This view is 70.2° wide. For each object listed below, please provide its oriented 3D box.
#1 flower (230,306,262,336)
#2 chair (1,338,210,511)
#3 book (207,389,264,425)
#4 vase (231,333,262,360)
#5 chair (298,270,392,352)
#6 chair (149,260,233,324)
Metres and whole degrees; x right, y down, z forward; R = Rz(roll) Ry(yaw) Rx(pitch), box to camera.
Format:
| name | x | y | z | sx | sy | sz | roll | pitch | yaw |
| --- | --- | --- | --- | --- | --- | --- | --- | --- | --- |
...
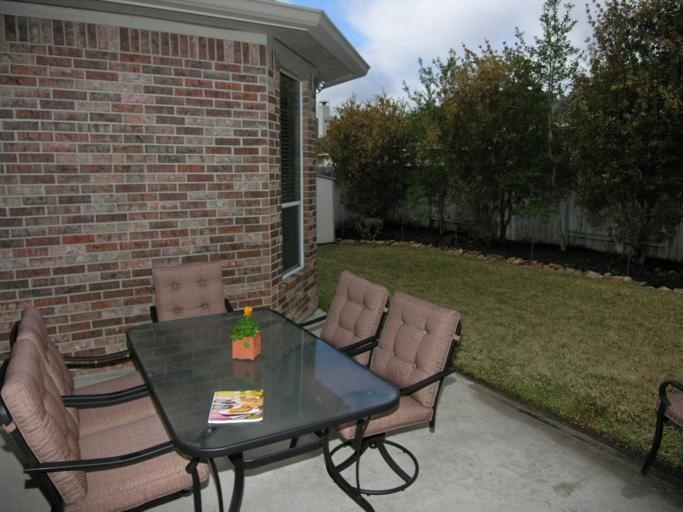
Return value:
| name | x | y | z | sx | sy | sz | roll | pitch | yaw |
| --- | --- | --- | --- | --- | --- | --- | --- | --- | --- |
| flower | -0.885 | 0.619 | 4.499 | 0.220 | 0.301 | 0.200 | -7 | 12 | -39 |
| chair | -1.704 | 1.294 | 3.707 | 1.121 | 1.195 | 1.398 | -17 | 32 | -27 |
| book | -0.733 | 1.068 | 3.429 | 0.375 | 0.098 | 0.367 | -2 | 6 | -5 |
| vase | -0.787 | 0.782 | 4.085 | 0.210 | 0.211 | 0.217 | 0 | 7 | 5 |
| chair | 0.127 | 0.655 | 5.030 | 0.744 | 0.817 | 0.796 | 23 | 1 | 33 |
| chair | -1.689 | 0.408 | 5.407 | 0.699 | 0.724 | 0.525 | -4 | 4 | -23 |
